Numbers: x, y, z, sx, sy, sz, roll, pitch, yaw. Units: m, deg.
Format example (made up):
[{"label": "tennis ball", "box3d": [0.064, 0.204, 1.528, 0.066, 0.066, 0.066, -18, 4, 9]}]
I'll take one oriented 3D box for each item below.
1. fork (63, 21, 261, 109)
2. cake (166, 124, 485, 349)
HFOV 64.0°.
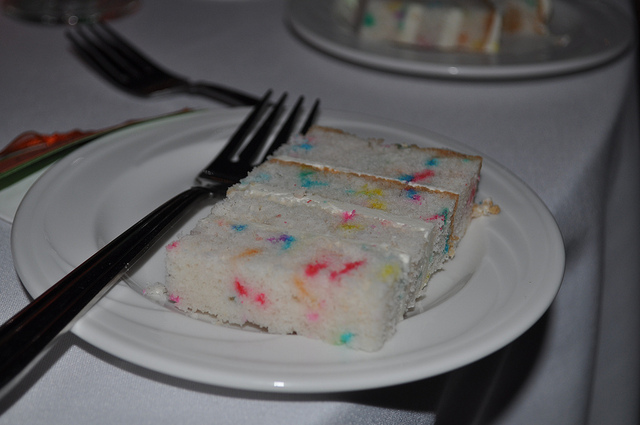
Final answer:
[{"label": "fork", "box3d": [-0.423, -0.376, 1.322, 0.547, 0.078, 0.089, 26, 55, 5]}, {"label": "cake", "box3d": [0.006, 0.028, 0.806, 0.309, 0.107, 0.436, 17, 39, 21]}]
